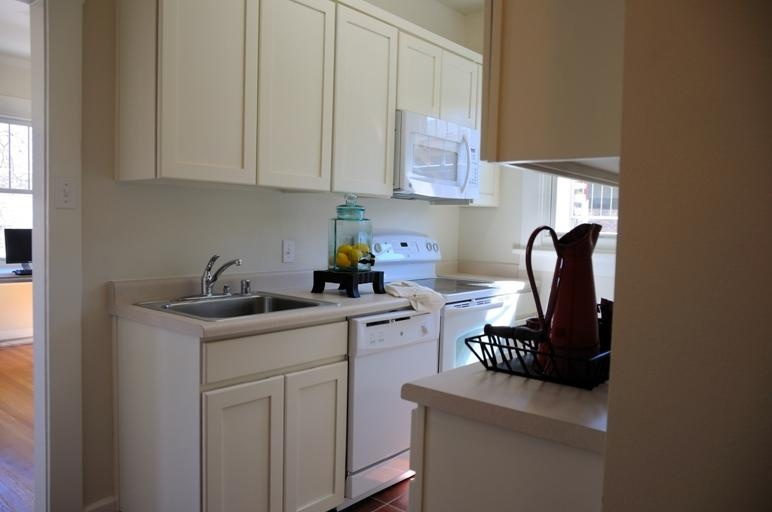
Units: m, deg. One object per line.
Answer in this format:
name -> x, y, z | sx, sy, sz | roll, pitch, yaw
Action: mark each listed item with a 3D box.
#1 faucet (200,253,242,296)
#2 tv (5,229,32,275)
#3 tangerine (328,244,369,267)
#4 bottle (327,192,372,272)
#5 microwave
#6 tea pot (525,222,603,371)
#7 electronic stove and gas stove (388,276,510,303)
faucet -> -0.797, 0.080, 2.640 | 0.048, 0.165, 0.234 | 4, 14, 41
tv -> -3.666, -0.082, 5.478 | 0.211, 0.389, 0.191 | -5, 8, -36
tangerine -> -0.174, 0.006, 2.795 | 0.108, 0.074, 0.150 | -27, 6, -20
bottle -> -0.205, -0.116, 2.912 | 0.289, 0.394, 0.289 | 1, -1, 0
microwave -> 0.316, -0.600, 3.329 | 0.148, 0.490, 0.749 | 5, 9, 40
tea pot -> 0.475, 0.110, 1.471 | 0.192, 0.389, 0.128 | 1, 7, 10
electronic stove and gas stove -> 0.433, 0.157, 3.403 | 0.511, 0.116, 0.485 | -6, 10, -40
